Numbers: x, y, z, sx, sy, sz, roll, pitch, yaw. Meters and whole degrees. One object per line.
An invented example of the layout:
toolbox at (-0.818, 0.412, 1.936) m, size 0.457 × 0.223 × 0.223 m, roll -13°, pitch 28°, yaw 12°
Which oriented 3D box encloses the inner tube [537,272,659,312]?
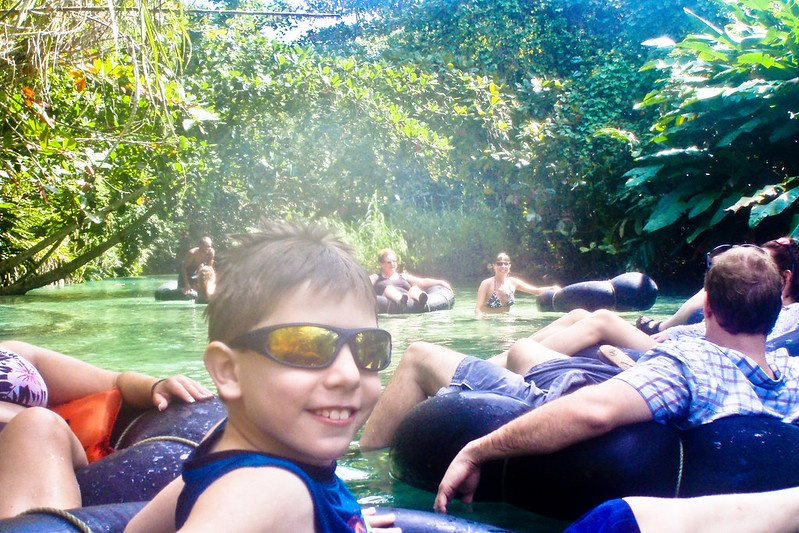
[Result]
inner tube at (3.475, 0.504, 9.481) m, size 2.357 × 0.819 × 0.808 m, roll -6°, pitch -3°, yaw 6°

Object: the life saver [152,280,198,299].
life saver at (-5.469, 0.657, 13.419) m, size 0.750 × 0.247 × 0.777 m, roll 3°, pitch 0°, yaw 33°

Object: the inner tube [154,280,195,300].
inner tube at (-5.529, 0.673, 13.311) m, size 0.725 × 0.231 × 0.703 m, roll 3°, pitch 0°, yaw -34°

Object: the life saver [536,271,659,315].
life saver at (3.475, 0.521, 9.481) m, size 2.354 × 0.817 × 0.808 m, roll -6°, pitch -3°, yaw 6°
